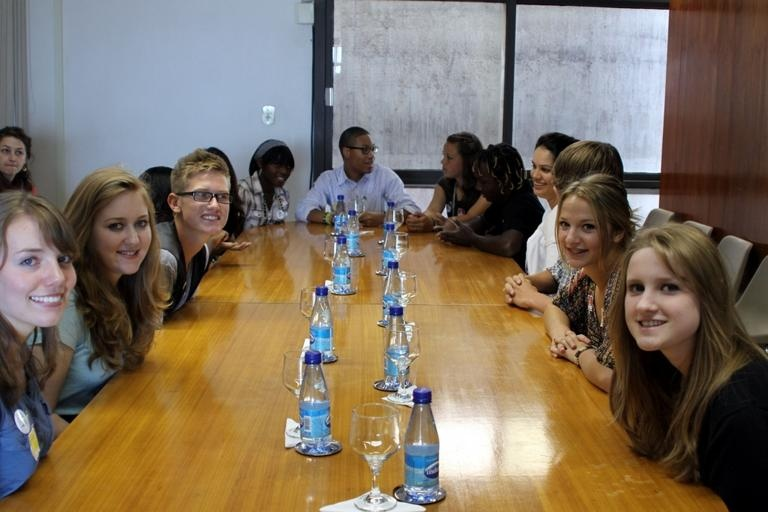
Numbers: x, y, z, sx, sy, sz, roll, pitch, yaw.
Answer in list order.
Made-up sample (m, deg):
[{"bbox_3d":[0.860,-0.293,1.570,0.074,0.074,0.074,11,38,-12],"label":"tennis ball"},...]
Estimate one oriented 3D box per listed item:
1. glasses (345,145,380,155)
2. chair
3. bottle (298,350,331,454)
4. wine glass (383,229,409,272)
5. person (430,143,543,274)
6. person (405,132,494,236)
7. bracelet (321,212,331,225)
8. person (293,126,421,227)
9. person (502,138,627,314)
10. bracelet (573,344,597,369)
[{"bbox_3d":[-0.201,-0.985,5.271,0.263,0.087,0.118,-8,15,-18],"label":"glasses"},{"bbox_3d":[0.900,0.080,1.666,0.351,0.387,0.328,-4,9,34],"label":"chair"},{"bbox_3d":[-0.202,0.383,1.584,0.101,0.291,0.156,-4,14,-7],"label":"bottle"},{"bbox_3d":[0.065,-0.044,3.316,0.172,0.320,0.190,1,12,5],"label":"wine glass"},{"bbox_3d":[0.875,-0.107,4.490,0.667,1.445,0.767,17,27,35],"label":"person"},{"bbox_3d":[0.562,-0.693,5.087,0.940,1.042,0.656,-11,18,-24],"label":"person"},{"bbox_3d":[-0.490,-0.341,4.982,0.079,0.104,0.041,-6,55,-10],"label":"bracelet"},{"bbox_3d":[-0.271,-0.629,5.368,1.140,1.100,0.712,-1,5,-16],"label":"person"},{"bbox_3d":[0.907,-0.177,3.043,0.548,0.832,0.543,-13,7,13],"label":"person"},{"bbox_3d":[0.730,0.360,2.063,0.019,0.074,0.072,18,27,37],"label":"bracelet"}]
